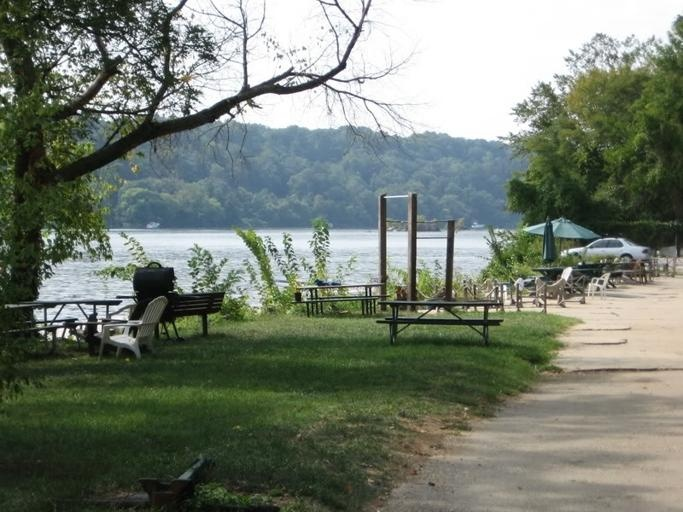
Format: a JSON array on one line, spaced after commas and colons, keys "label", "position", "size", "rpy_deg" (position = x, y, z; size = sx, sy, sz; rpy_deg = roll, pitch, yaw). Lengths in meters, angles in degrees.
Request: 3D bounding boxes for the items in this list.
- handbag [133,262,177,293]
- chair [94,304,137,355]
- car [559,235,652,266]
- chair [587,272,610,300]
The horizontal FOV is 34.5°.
[{"label": "handbag", "position": [-4.217, 0.512, 25.298], "size": [0.811, 0.630, 0.643], "rpy_deg": [0, -2, 3]}, {"label": "chair", "position": [-4.677, 1.540, 23.492], "size": [1.083, 1.404, 1.038], "rpy_deg": [0, -2, -2]}, {"label": "car", "position": [11.224, -0.540, 46.810], "size": [3.736, 1.233, 1.696], "rpy_deg": [3, 0, 6]}, {"label": "chair", "position": [8.249, 0.937, 35.282], "size": [0.832, 1.053, 0.767], "rpy_deg": [3, -4, -25]}]
